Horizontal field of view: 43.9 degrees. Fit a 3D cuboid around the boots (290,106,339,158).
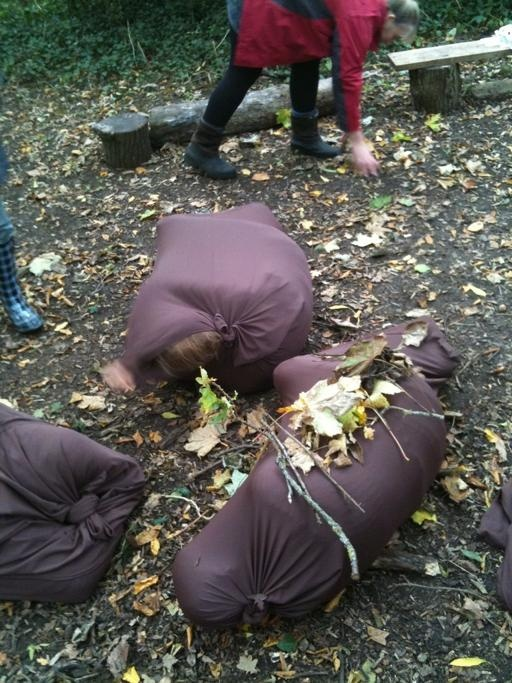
[{"bbox_3d":[0.494,-1.595,4.939,0.404,0.347,0.182,15,37,28],"label":"boots"}]
